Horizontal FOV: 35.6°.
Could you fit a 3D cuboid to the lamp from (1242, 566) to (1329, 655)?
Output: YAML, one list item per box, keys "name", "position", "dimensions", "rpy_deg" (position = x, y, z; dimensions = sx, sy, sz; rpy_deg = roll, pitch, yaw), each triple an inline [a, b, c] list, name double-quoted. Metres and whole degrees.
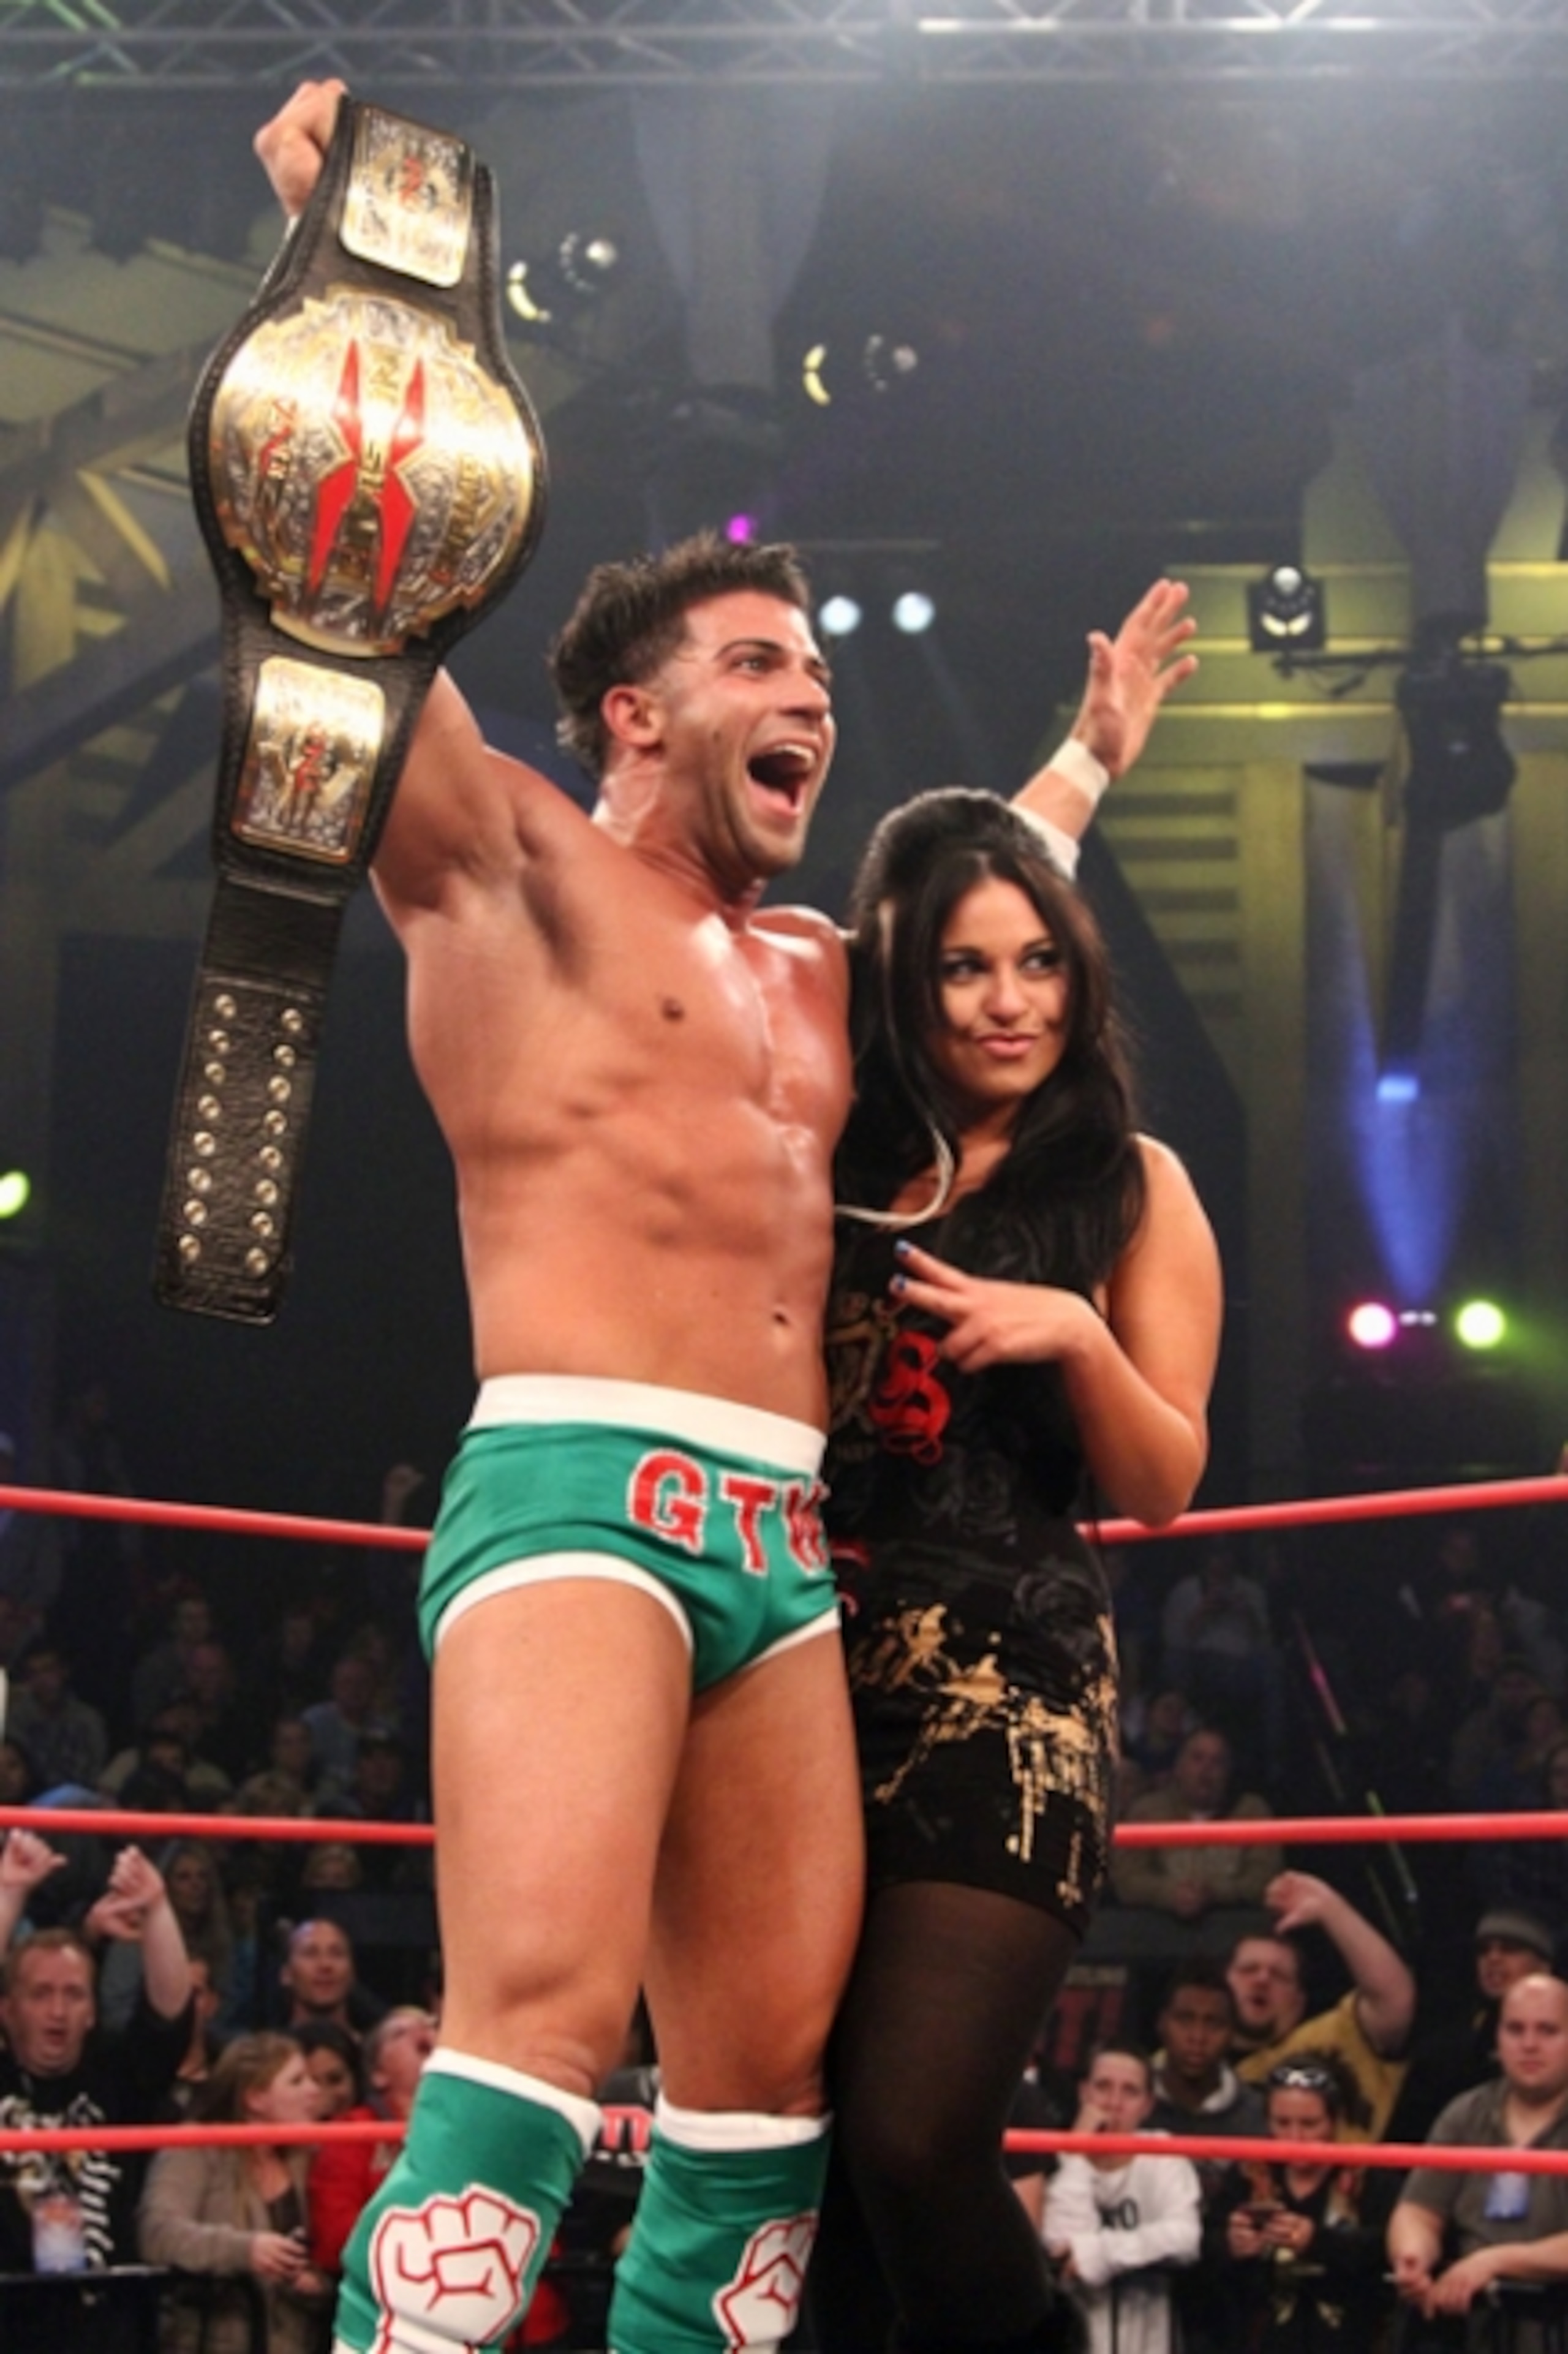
- name: "lamp"
  position: [1.802, -2.063, 8.837]
  dimensions: [0.281, 0.305, 0.422]
  rpy_deg: [4, 4, 9]

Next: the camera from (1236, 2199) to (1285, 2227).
- name: "camera"
  position: [0.808, 1.778, 4.197]
  dimensions: [0.083, 0.028, 0.072]
  rpy_deg: [4, 3, 18]
